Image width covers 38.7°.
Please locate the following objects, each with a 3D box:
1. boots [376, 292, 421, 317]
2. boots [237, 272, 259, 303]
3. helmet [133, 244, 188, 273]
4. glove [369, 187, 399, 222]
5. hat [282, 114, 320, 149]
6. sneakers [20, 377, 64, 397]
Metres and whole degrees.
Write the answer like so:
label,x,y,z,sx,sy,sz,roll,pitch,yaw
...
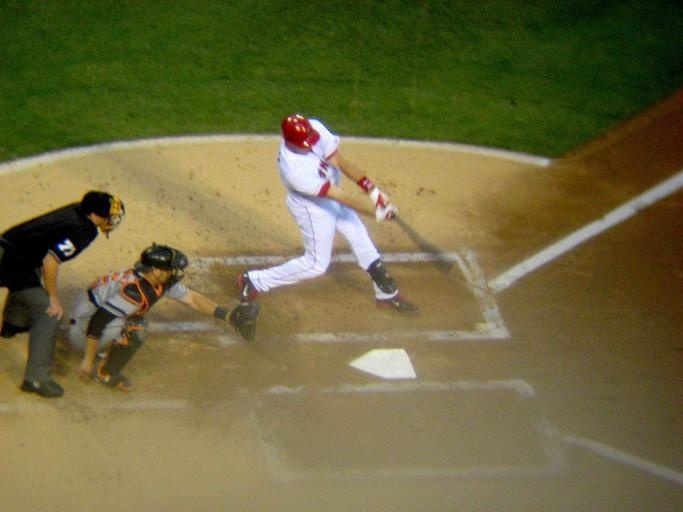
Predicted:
label,x,y,z,sx,sy,sz,roll,pitch,yaw
boots,0.773,0.685,13.344,0.563,0.225,0.263,10,43,11
boots,-1.320,0.417,13.188,0.311,0.198,0.432,-13,104,-35
helmet,-2.288,0.019,12.351,0.499,0.240,0.352,-3,29,-22
glove,0.491,-0.620,12.728,0.309,0.221,0.480,-29,81,-17
hat,-0.550,-1.538,12.303,0.469,0.242,0.348,37,81,-8
sneakers,-3.821,1.664,12.310,0.437,0.174,0.228,4,27,-6
